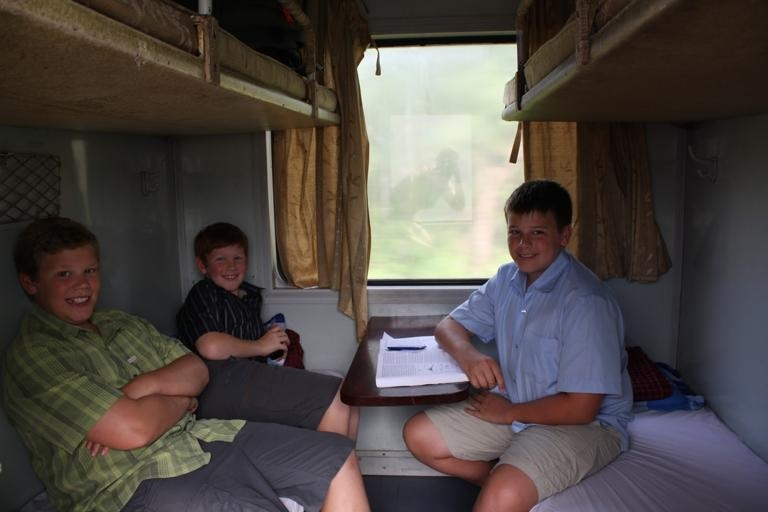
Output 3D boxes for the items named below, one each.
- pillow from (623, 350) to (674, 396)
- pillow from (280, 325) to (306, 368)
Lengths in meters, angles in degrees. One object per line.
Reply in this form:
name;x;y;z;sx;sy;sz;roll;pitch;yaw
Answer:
pillow;1.704;0.794;3.618;0.281;0.069;0.291;-1;23;4
pillow;-0.641;0.653;3.885;0.194;0.249;0.075;10;-20;-34
